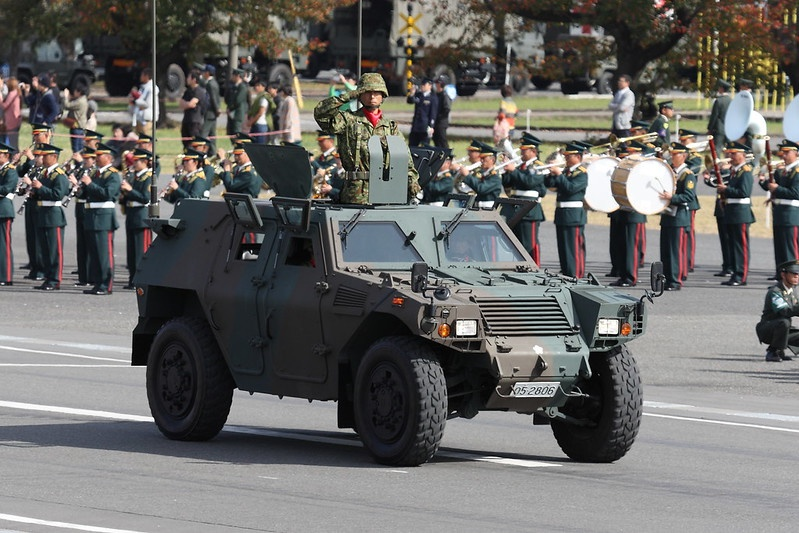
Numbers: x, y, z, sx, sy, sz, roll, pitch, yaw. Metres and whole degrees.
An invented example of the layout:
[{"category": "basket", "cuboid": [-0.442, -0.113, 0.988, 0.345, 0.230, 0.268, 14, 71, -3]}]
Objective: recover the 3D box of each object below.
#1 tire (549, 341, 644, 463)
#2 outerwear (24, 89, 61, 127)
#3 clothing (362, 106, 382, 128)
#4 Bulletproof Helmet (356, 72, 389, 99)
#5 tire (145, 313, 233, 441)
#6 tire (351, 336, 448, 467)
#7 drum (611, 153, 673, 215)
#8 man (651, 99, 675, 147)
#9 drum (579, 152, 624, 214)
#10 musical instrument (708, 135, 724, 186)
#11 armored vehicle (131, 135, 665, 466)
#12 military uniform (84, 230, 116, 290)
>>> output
[{"category": "tire", "cuboid": [2.558, 1.773, 23.837, 0.527, 1.807, 1.414, 1, 1, -39]}, {"category": "outerwear", "cuboid": [-8.620, -3.784, 44.039, 1.017, 0.889, 0.459, 15, 4, 36]}, {"category": "clothing", "cuboid": [-0.372, -2.056, 25.393, 0.197, 0.305, 0.165, 3, 2, -5]}, {"category": "Bulletproof Helmet", "cuboid": [-0.391, -2.479, 25.221, 0.403, 0.354, 0.433, 0, 11, -2]}, {"category": "tire", "cuboid": [-2.809, 1.518, 24.535, 1.297, 1.610, 0.512, 11, 2, 39]}, {"category": "tire", "cuboid": [0.020, 1.695, 23.300, 1.448, 1.912, 0.582, -1, -4, 15]}, {"category": "drum", "cuboid": [4.526, -1.504, 34.003, 0.985, 1.126, 0.527, -1, 6, -18]}, {"category": "man", "cuboid": [5.889, -2.916, 40.606, 0.412, 1.443, 0.561, 4, 1, 13]}, {"category": "drum", "cuboid": [3.824, -1.549, 34.464, 0.998, 1.202, 0.439, 1, 2, -12]}, {"category": "musical instrument", "cuboid": [6.141, -2.012, 35.316, 0.332, 1.045, 0.325, 0, -7, -25]}, {"category": "armored vehicle", "cuboid": [-0.200, 0.623, 24.450, 6.077, 4.156, 3.936, 0, 0, 42]}, {"category": "military uniform", "cuboid": [-5.552, -0.078, 33.737, 0.446, 1.157, 0.562, -2, 11, -12]}]
